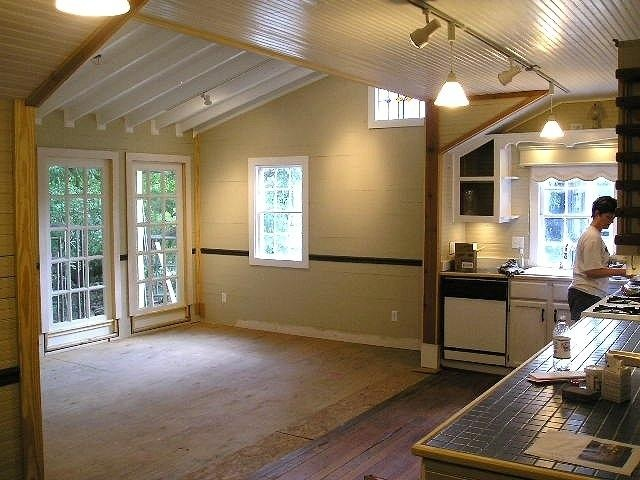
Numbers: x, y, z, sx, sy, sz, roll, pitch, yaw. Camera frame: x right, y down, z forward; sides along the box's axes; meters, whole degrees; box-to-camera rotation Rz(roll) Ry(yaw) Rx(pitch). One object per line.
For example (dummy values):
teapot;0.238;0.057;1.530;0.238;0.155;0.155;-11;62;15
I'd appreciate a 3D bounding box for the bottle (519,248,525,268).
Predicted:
bottle;2.583;0.221;6.244;0.078;0.233;0.122;1;5;21

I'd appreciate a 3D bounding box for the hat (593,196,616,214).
hat;2.758;-0.323;4.723;0.191;0.183;0.190;1;5;24
